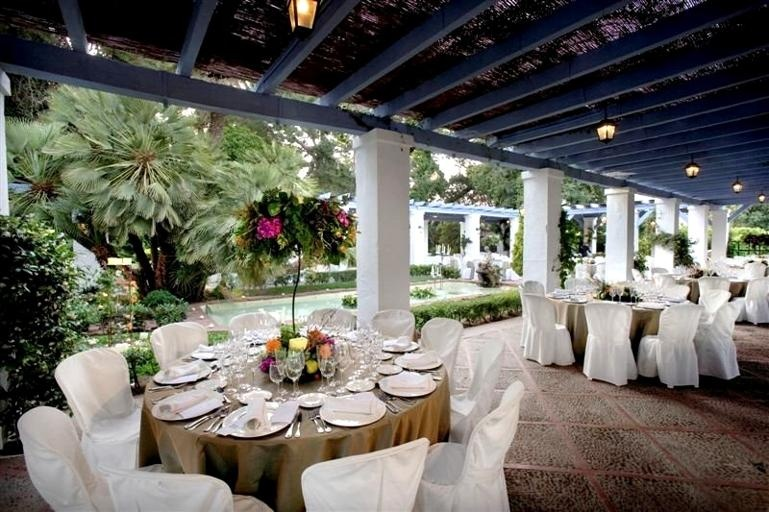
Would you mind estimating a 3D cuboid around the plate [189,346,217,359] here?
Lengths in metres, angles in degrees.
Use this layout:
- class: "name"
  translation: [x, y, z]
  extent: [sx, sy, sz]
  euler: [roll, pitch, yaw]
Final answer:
- class: "plate"
  translation: [-1.957, 1.064, 5.238]
  extent: [0.212, 0.033, 0.229]
  euler: [8, 13, 23]

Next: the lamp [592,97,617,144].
- class: "lamp"
  translation: [3.144, -1.914, 6.839]
  extent: [0.253, 0.615, 0.270]
  euler: [-11, 14, -20]

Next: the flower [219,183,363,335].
- class: "flower"
  translation: [-0.916, -0.255, 5.038]
  extent: [1.077, 0.723, 0.735]
  euler: [16, -18, -29]
